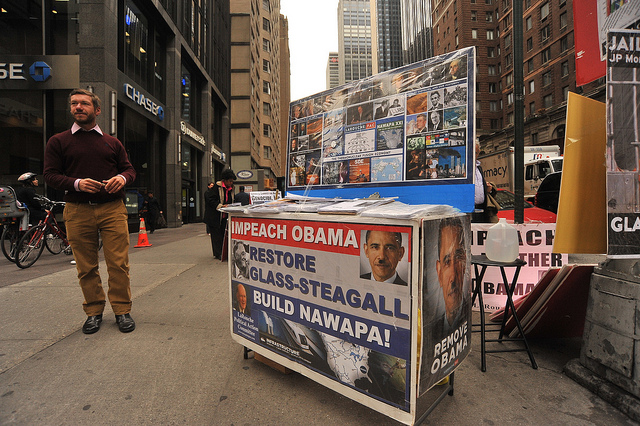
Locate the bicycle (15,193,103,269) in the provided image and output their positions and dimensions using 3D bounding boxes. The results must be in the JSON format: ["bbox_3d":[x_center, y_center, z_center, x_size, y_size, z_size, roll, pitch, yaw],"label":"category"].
[{"bbox_3d":[-6.332,0.387,11.052,1.175,1.568,2.507,22,4,0],"label":"bicycle"}]

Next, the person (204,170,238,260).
[{"bbox_3d":[-2.469,0.028,11.314,0.756,2.123,1.050,-3,7,-9],"label":"person"}]

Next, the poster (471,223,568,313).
[{"bbox_3d":[2.969,0.826,6.784,1.320,1.432,0.500,1,-2,10],"label":"poster"}]

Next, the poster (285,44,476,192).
[{"bbox_3d":[0.628,-1.005,6.010,2.800,1.642,0.035,-3,-10,38],"label":"poster"}]

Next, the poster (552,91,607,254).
[{"bbox_3d":[3.346,-0.510,5.957,0.667,2.051,0.488,0,7,14],"label":"poster"}]

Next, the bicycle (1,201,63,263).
[{"bbox_3d":[-6.592,0.463,10.464,0.607,1.267,1.563,-1,7,10],"label":"bicycle"}]

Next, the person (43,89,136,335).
[{"bbox_3d":[-3.405,-0.076,6.862,1.112,3.516,1.086,-4,6,-27],"label":"person"}]

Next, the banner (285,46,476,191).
[{"bbox_3d":[0.610,-1.004,6.011,2.767,1.646,0.035,-3,-8,36],"label":"banner"}]

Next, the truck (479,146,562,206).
[{"bbox_3d":[6.497,-1.061,15.380,1.270,2.166,3.987,-6,2,-7],"label":"truck"}]

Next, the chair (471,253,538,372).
[{"bbox_3d":[2.627,1.266,6.708,0.821,1.462,1.738,0,7,19],"label":"chair"}]

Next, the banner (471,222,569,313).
[{"bbox_3d":[2.964,0.827,6.775,1.303,1.429,0.487,2,-2,11],"label":"banner"}]

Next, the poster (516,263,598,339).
[{"bbox_3d":[3.243,1.229,6.278,0.782,1.142,0.419,-1,7,9],"label":"poster"}]
